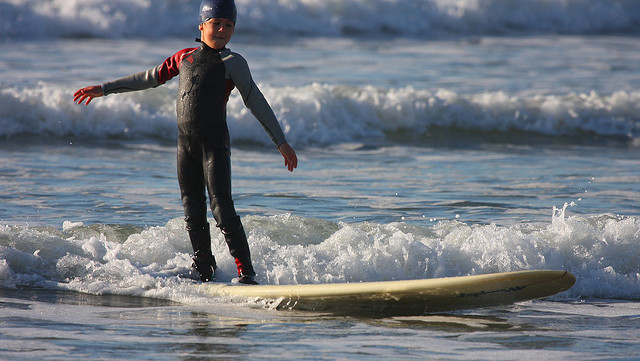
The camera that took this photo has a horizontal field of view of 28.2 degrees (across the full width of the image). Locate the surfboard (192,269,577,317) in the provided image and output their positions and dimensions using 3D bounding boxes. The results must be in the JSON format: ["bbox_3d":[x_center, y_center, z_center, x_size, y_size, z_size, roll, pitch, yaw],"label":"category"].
[{"bbox_3d":[1.402,2.510,28.850,6.754,0.358,0.819,-3,-5,5],"label":"surfboard"}]
